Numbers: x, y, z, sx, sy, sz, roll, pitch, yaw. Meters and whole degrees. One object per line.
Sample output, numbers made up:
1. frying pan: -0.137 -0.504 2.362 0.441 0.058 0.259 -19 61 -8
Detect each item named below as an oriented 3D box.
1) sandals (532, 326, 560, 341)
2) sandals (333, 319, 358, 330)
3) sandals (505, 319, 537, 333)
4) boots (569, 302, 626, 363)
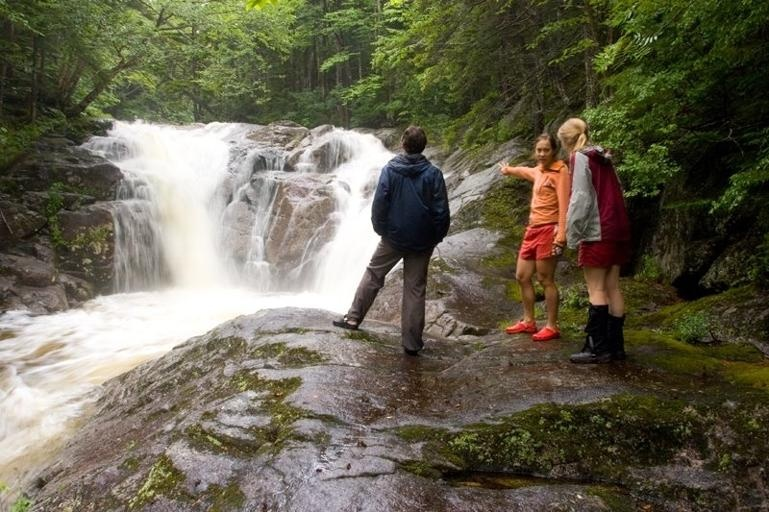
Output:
1. sandals: 2.415 1.152 9.304 0.396 0.172 0.188 -2 0 -9
2. sandals: -0.585 1.037 9.418 0.402 0.157 0.145 5 2 16
3. sandals: 2.133 1.087 9.700 0.476 0.198 0.197 1 4 14
4. boots: 2.888 1.040 8.371 0.695 0.733 0.354 1 11 13
